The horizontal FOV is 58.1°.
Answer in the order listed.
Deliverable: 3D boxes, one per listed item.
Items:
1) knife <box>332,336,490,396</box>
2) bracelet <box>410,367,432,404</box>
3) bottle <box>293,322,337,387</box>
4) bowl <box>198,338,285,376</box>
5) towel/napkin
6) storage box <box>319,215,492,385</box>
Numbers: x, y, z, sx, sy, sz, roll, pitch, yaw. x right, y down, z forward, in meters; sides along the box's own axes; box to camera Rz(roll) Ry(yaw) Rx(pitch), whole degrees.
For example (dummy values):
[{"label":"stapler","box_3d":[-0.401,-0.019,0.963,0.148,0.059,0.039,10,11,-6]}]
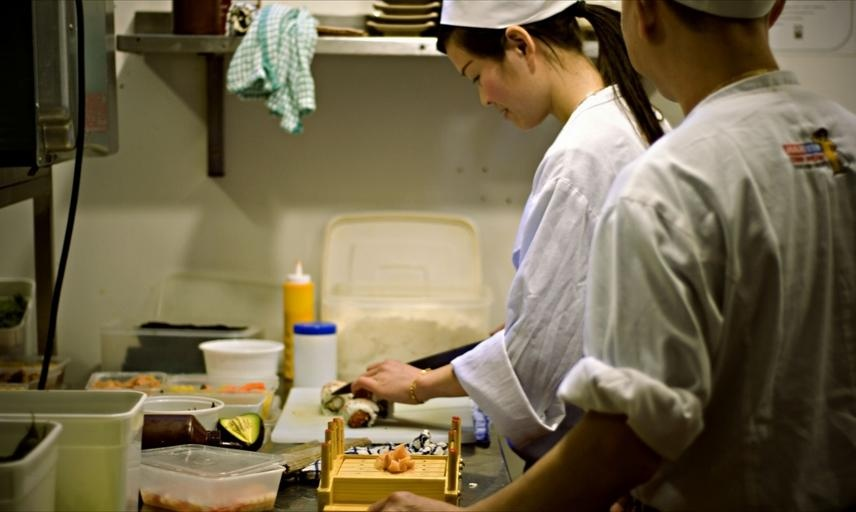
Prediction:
[{"label":"knife","box_3d":[-0.055,0.296,2.076,0.529,0.025,0.069,-16,46,-7]},{"label":"bracelet","box_3d":[-0.023,0.317,1.879,0.066,0.077,0.031,20,-11,-6]},{"label":"bottle","box_3d":[-0.347,0.306,2.355,0.141,0.214,0.136,2,8,0]},{"label":"bowl","box_3d":[-0.546,0.306,2.277,0.251,0.087,0.251,3,3,0]},{"label":"towel/napkin","box_3d":[-0.432,-0.500,2.136,0.269,0.351,0.107,7,5,-6]},{"label":"storage box","box_3d":[-0.078,0.164,2.760,0.577,0.527,0.537,-1,-4,-3]}]
